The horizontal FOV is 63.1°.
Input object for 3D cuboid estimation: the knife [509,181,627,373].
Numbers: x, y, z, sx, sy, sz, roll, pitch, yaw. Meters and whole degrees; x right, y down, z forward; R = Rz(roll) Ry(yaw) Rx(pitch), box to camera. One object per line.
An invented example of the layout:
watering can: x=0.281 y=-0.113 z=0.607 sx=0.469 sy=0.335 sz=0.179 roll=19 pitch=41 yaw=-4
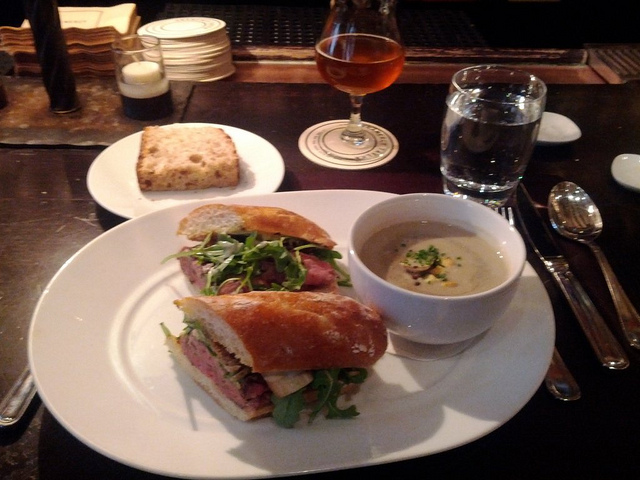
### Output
knife: x=0.903 y=0.110 z=2.068 sx=0.139 sy=0.041 sz=0.873 roll=-9 pitch=42 yaw=-12

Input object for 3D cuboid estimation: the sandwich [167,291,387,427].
sandwich: x=-0.119 y=0.362 z=1.637 sx=0.685 sy=0.269 sz=0.439 roll=-6 pitch=47 yaw=-12

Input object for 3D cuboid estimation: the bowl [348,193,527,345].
bowl: x=0.372 y=0.077 z=1.820 sx=0.636 sy=0.302 sz=0.434 roll=-9 pitch=61 yaw=5

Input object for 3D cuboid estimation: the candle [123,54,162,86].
candle: x=-0.961 y=-0.892 z=2.804 sx=0.207 sy=0.153 sz=0.152 roll=-11 pitch=56 yaw=-15

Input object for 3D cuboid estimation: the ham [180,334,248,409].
ham: x=-0.326 y=0.413 z=1.635 sx=0.381 sy=0.070 sz=0.074 roll=31 pitch=52 yaw=17

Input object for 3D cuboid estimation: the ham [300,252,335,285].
ham: x=-0.014 y=0.110 z=1.917 sx=0.123 sy=0.079 sz=0.152 roll=3 pitch=45 yaw=-3

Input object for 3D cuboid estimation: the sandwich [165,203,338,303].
sandwich: x=-0.218 y=0.031 z=1.950 sx=0.526 sy=0.243 sz=0.491 roll=17 pitch=26 yaw=34
